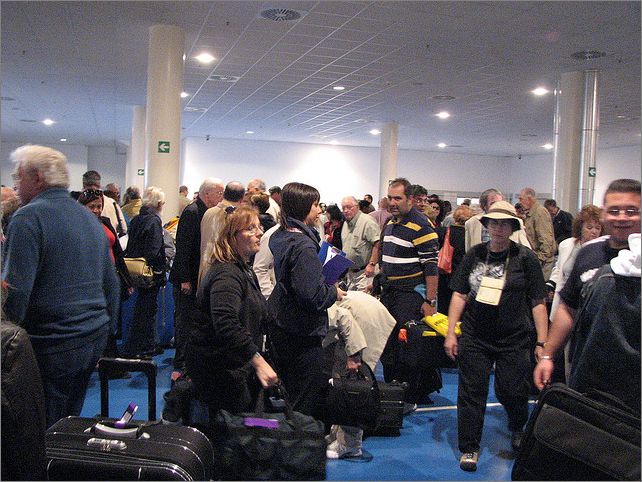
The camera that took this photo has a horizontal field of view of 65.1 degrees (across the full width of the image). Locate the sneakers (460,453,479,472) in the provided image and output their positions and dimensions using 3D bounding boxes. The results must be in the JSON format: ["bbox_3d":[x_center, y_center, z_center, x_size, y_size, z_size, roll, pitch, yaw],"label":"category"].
[{"bbox_3d":[1.061,1.574,3.561,0.071,0.086,0.198,-1,-11,13],"label":"sneakers"}]

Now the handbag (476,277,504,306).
[{"bbox_3d":[1.208,0.361,3.575,0.183,0.206,0.108,5,5,16],"label":"handbag"}]

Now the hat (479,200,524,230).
[{"bbox_3d":[1.335,-0.183,3.721,0.283,0.220,0.383,5,5,17],"label":"hat"}]

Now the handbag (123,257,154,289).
[{"bbox_3d":[-1.796,0.296,5.018,0.269,0.133,0.332,-9,50,-18],"label":"handbag"}]
